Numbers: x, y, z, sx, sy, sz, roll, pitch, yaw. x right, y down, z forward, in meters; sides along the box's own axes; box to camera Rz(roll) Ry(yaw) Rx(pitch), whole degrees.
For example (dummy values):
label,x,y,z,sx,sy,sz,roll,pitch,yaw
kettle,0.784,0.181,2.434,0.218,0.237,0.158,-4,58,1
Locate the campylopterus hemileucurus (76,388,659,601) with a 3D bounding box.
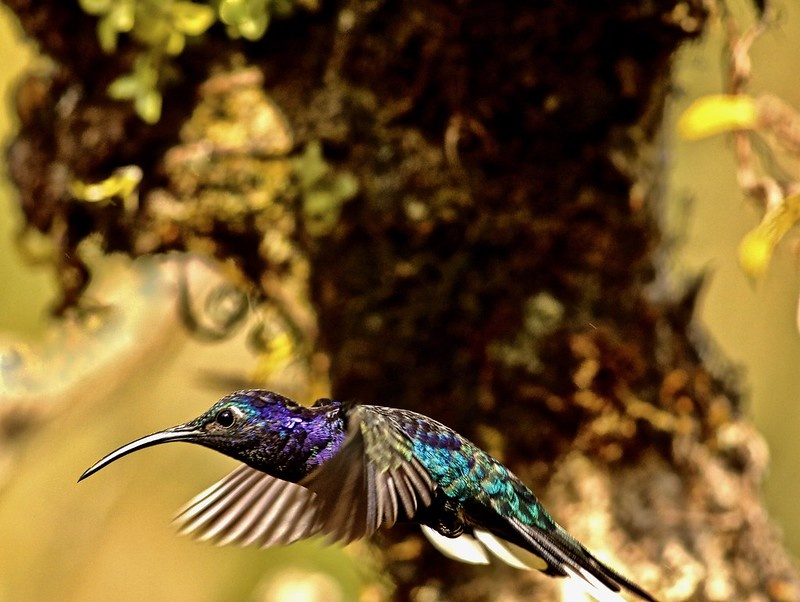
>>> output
label,x,y,z,sx,sy,sz,roll,pitch,yaw
campylopterus hemileucurus,-0.036,0.198,1.670,0.580,0.305,0.188,-2,81,-10
